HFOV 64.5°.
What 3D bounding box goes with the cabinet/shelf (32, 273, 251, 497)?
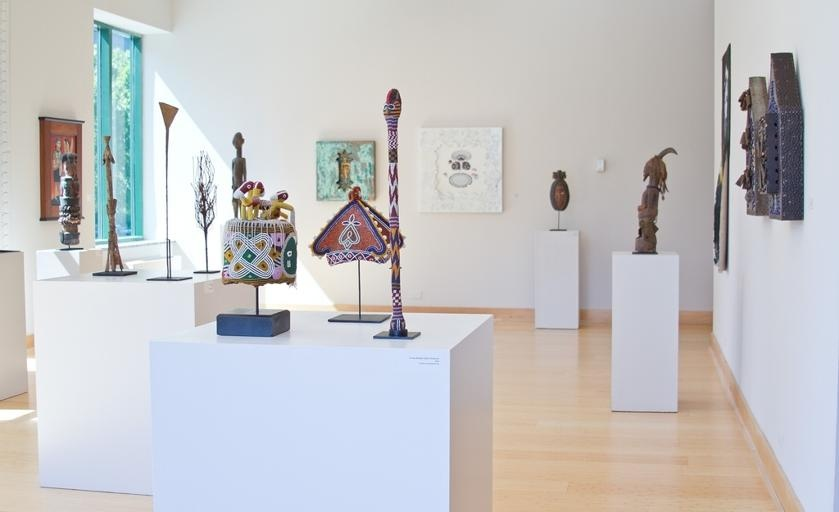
[{"bbox_3d":[-2.270,0.945,6.117,1.462,2.027,2.024,1,0,8],"label":"cabinet/shelf"}]
